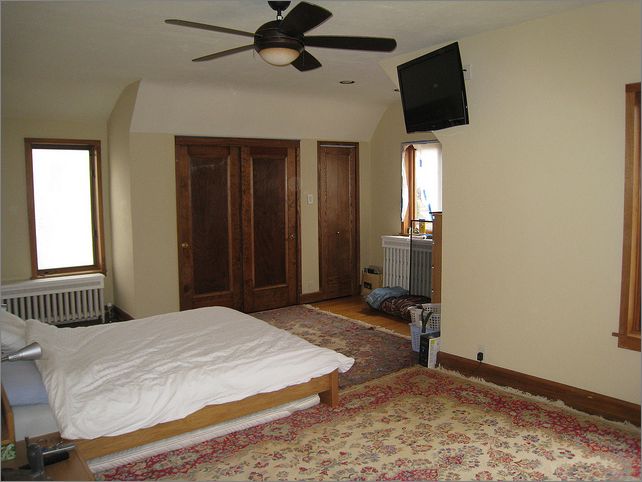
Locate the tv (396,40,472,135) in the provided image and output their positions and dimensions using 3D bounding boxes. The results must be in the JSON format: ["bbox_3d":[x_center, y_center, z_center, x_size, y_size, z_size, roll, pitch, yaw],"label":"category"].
[{"bbox_3d":[1.002,-1.350,4.482,0.747,0.690,0.066,-22,24,-22],"label":"tv"}]

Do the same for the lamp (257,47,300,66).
[{"bbox_3d":[-0.290,-1.300,3.439,0.283,0.085,0.199,2,12,19],"label":"lamp"}]

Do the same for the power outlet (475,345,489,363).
[{"bbox_3d":[1.508,1.062,4.604,0.089,0.158,0.043,4,14,27],"label":"power outlet"}]

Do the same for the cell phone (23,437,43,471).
[{"bbox_3d":[-1.458,1.106,2.497,0.100,0.187,0.045,-6,1,-10],"label":"cell phone"}]

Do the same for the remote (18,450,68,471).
[{"bbox_3d":[-1.462,1.157,2.569,0.158,0.035,0.114,0,-7,-43],"label":"remote"}]

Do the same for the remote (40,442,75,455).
[{"bbox_3d":[-1.473,1.157,2.723,0.192,0.025,0.058,0,24,-25],"label":"remote"}]

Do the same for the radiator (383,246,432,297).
[{"bbox_3d":[1.206,0.445,6.972,0.077,0.715,0.916,-7,9,-37],"label":"radiator"}]

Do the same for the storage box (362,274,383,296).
[{"bbox_3d":[0.797,0.672,7.552,0.126,0.303,0.328,-10,15,-42],"label":"storage box"}]

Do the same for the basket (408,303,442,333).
[{"bbox_3d":[1.108,0.822,5.216,0.319,0.247,0.348,0,11,10],"label":"basket"}]

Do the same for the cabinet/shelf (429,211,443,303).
[{"bbox_3d":[1.261,0.191,5.355,0.098,1.036,0.252,1,13,13],"label":"cabinet/shelf"}]
